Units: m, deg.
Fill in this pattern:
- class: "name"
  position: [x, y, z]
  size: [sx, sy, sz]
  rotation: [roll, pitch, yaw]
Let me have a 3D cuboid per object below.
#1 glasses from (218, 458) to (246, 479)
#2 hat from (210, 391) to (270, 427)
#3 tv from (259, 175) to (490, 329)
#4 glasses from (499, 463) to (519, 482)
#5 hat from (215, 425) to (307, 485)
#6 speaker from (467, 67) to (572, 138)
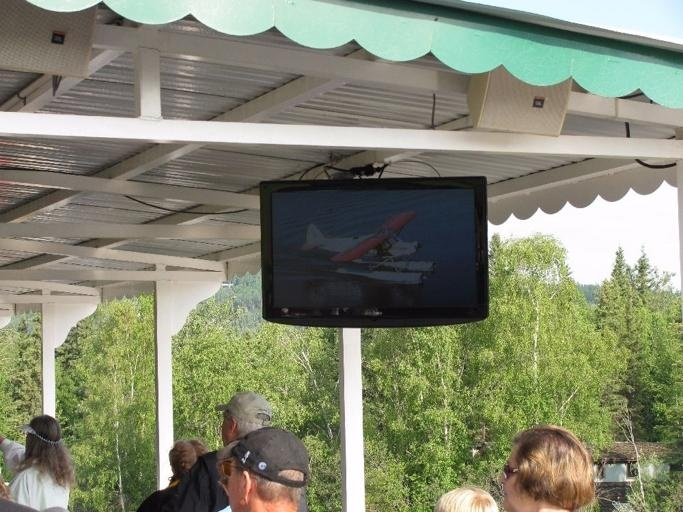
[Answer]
- class: "glasses"
  position: [-0.756, 1.462, 8.179]
  size: [0.160, 0.054, 0.159]
  rotation: [-6, 1, -25]
- class: "hat"
  position: [-0.812, 1.273, 9.984]
  size: [0.381, 0.283, 0.529]
  rotation: [14, -9, -44]
- class: "tv"
  position: [0.283, -0.034, 10.542]
  size: [2.011, 1.310, 0.196]
  rotation: [0, -4, 2]
- class: "glasses"
  position: [1.152, 1.479, 8.086]
  size: [0.113, 0.057, 0.113]
  rotation: [-2, 27, -3]
- class: "hat"
  position: [-0.499, 1.335, 8.256]
  size: [0.654, 0.360, 0.503]
  rotation: [17, 3, 39]
- class: "speaker"
  position: [1.470, -1.253, 9.950]
  size: [0.907, 0.662, 0.515]
  rotation: [6, 13, -14]
